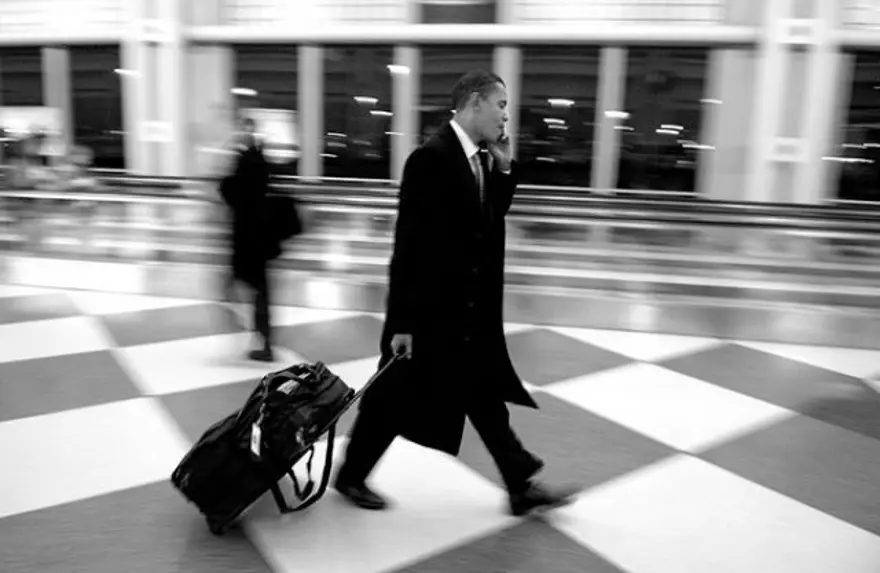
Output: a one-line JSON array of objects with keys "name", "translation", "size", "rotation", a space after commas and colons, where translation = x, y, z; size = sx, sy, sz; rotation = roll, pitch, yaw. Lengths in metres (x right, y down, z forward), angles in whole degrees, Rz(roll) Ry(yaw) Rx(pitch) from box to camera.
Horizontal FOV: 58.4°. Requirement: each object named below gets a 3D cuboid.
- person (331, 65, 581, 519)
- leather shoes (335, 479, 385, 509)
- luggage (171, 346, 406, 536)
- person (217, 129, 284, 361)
[{"name": "person", "translation": [0.108, 0.077, 4.937], "size": [1.358, 2.774, 0.589], "rotation": [0, 17, 3]}, {"name": "leather shoes", "translation": [-0.501, 1.338, 5.139], "size": [0.380, 0.131, 0.151], "rotation": [9, 13, 3]}, {"name": "luggage", "translation": [-1.054, 0.882, 5.007], "size": [1.615, 0.601, 0.941], "rotation": [-36, 16, -20]}, {"name": "person", "translation": [-1.612, -0.350, 6.533], "size": [0.422, 2.021, 0.282], "rotation": [-4, 17, -10]}]
